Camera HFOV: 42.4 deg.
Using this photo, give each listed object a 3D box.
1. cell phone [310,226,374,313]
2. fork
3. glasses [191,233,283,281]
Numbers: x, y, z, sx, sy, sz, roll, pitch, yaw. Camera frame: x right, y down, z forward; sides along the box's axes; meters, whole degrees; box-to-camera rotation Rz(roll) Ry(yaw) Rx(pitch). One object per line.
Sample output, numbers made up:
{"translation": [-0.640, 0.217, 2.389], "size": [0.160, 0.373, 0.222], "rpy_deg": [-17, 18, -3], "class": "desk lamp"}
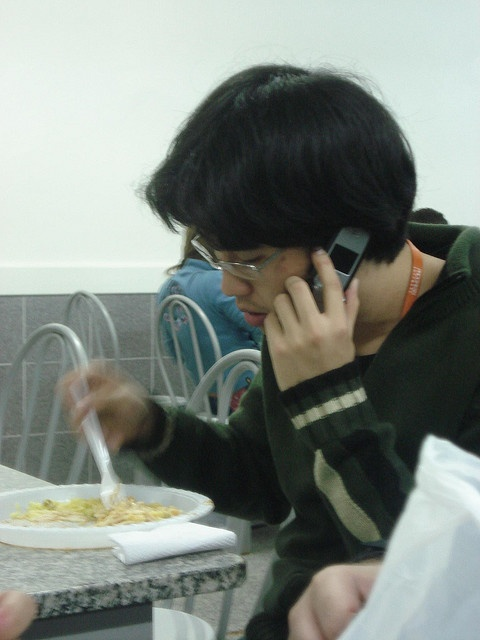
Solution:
{"translation": [0.147, -0.066, 0.867], "size": [0.061, 0.121, 0.029], "rpy_deg": [15, 29, -4], "class": "cell phone"}
{"translation": [-0.208, 0.168, 0.850], "size": [0.050, 0.051, 0.304], "rpy_deg": [-3, 39, -19], "class": "fork"}
{"translation": [-0.011, -0.078, 0.881], "size": [0.095, 0.027, 0.092], "rpy_deg": [-1, 24, -47], "class": "glasses"}
